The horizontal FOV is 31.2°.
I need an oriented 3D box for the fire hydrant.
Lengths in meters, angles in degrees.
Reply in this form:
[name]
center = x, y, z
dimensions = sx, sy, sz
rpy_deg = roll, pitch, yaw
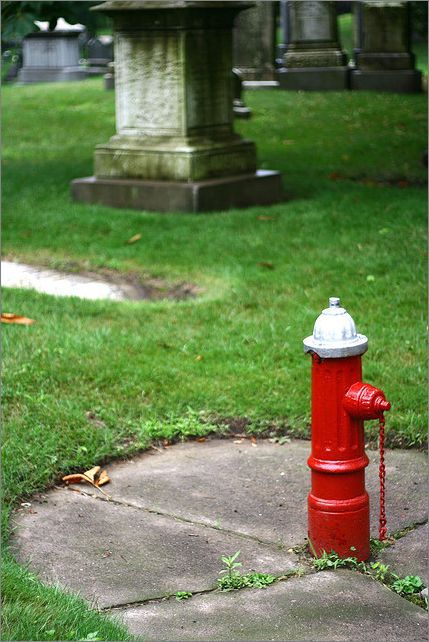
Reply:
[fire hydrant]
center = 0.460, 0.378, 2.697
dimensions = 0.287, 0.933, 0.195
rpy_deg = -2, 8, 4
